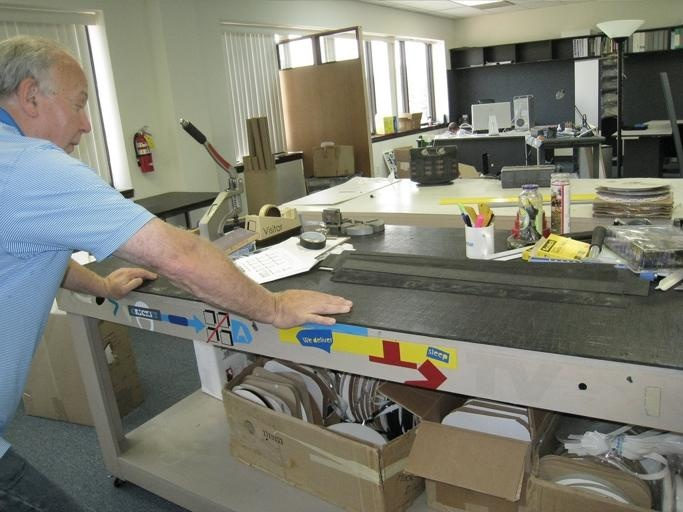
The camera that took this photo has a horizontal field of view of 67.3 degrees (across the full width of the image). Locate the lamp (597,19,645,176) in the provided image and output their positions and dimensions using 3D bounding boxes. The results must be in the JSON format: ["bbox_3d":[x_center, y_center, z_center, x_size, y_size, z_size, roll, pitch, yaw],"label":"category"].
[{"bbox_3d":[2.611,-1.348,4.781,0.429,1.595,0.419,-26,27,-27],"label":"lamp"}]

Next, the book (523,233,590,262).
[{"bbox_3d":[0.730,-0.021,1.736,0.199,0.064,0.135,8,21,35],"label":"book"}]

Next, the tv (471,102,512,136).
[{"bbox_3d":[2.091,-1.884,7.111,0.695,0.581,0.223,4,29,22],"label":"tv"}]

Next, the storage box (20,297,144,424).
[{"bbox_3d":[-1.432,0.575,2.902,0.686,0.760,0.783,-5,17,-38],"label":"storage box"}]

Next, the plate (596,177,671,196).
[{"bbox_3d":[1.386,-0.330,2.434,0.355,0.049,0.315,-6,17,-6],"label":"plate"}]
